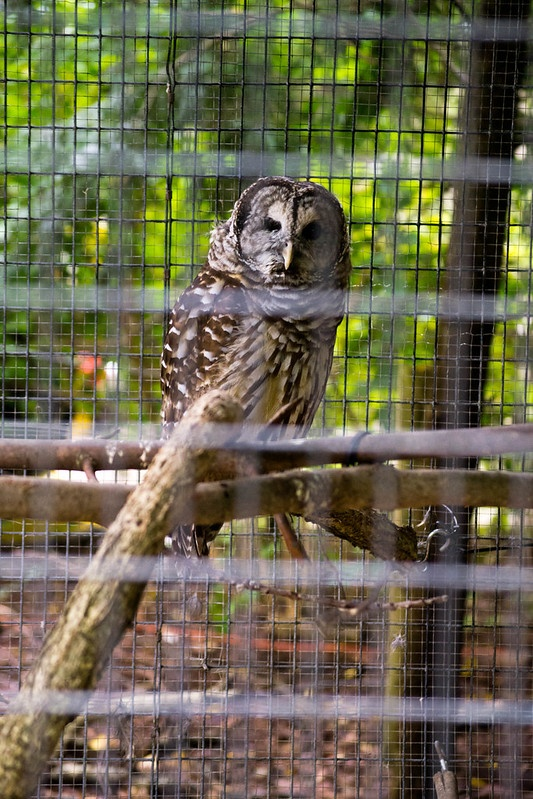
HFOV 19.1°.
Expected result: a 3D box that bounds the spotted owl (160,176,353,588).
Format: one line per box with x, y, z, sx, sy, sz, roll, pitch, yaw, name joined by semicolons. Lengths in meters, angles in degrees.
-0.031;-0.331;5.451;0.587;0.747;0.783;12;-49;-4;spotted owl
